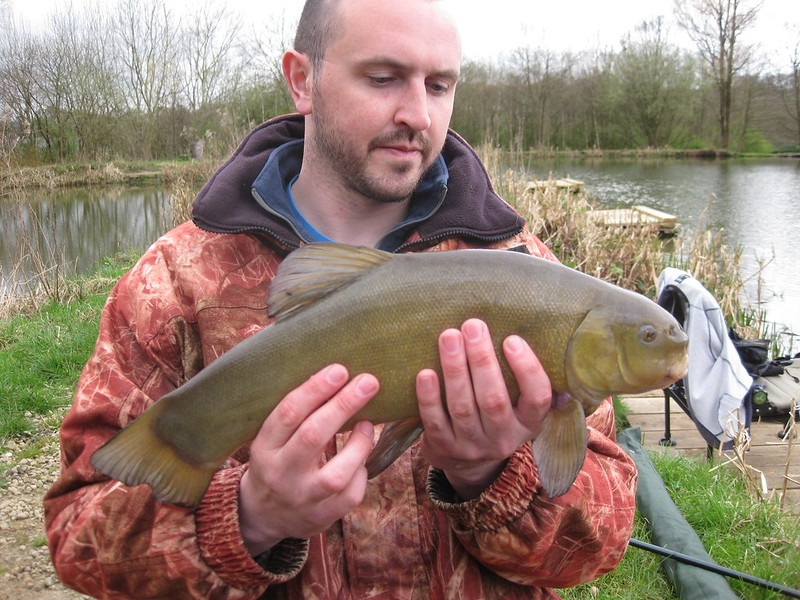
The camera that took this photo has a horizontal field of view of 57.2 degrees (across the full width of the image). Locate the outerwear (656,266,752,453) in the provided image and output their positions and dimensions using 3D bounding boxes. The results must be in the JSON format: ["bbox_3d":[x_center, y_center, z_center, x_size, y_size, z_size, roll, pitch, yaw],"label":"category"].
[{"bbox_3d":[2.380,0.477,5.791,0.459,1.541,0.664,27,-28,-36],"label":"outerwear"}]

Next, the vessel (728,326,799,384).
[{"bbox_3d":[3.208,0.492,6.501,0.568,0.274,0.199,24,-4,-2],"label":"vessel"}]
